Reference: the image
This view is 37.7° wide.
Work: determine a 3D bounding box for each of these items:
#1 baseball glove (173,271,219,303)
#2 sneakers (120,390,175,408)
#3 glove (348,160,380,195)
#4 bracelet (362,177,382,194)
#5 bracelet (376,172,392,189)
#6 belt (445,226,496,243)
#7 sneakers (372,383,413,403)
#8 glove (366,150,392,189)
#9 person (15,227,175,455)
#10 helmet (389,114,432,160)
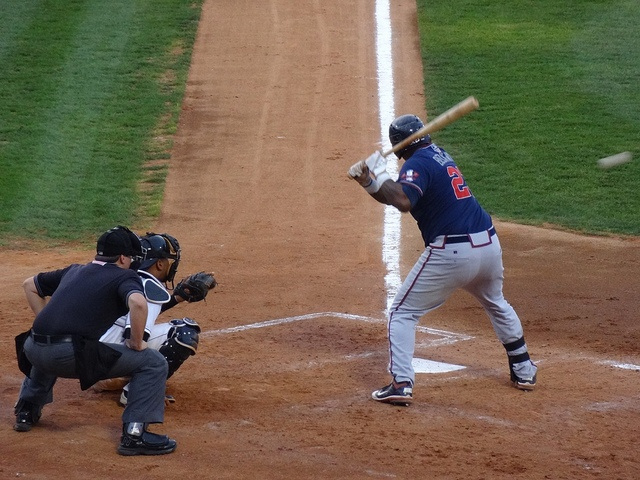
[{"bbox_3d":[-1.455,0.510,10.771,0.505,0.183,0.361,1,20,26],"label":"baseball glove"},{"bbox_3d":[-1.836,1.767,10.446,0.731,0.231,0.209,-1,7,-4],"label":"sneakers"},{"bbox_3d":[0.539,-0.702,10.747,0.193,0.452,0.264,-42,44,-5],"label":"glove"},{"bbox_3d":[0.609,-0.624,10.667,0.221,0.154,0.195,-1,-13,18],"label":"bracelet"},{"bbox_3d":[0.711,-0.692,10.534,0.167,0.163,0.312,1,14,-3],"label":"bracelet"},{"bbox_3d":[1.720,-0.038,10.579,0.621,0.183,0.174,-5,17,-24],"label":"belt"},{"bbox_3d":[0.828,1.720,10.520,0.491,0.172,0.180,-1,-24,24],"label":"sneakers"},{"bbox_3d":[0.653,-0.781,10.685,0.146,0.374,0.416,0,25,17],"label":"glove"},{"bbox_3d":[-2.351,1.047,9.761,1.686,2.212,0.947,3,17,1],"label":"person"},{"bbox_3d":[1.087,-1.189,10.995,0.541,0.478,0.635,-8,5,-34],"label":"helmet"}]
